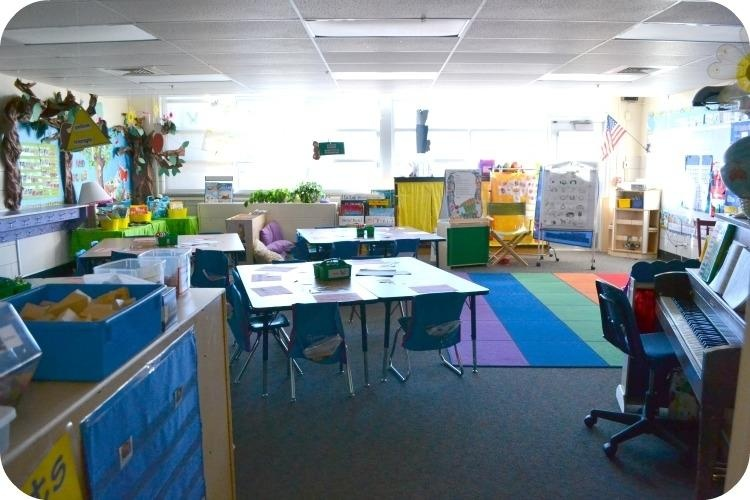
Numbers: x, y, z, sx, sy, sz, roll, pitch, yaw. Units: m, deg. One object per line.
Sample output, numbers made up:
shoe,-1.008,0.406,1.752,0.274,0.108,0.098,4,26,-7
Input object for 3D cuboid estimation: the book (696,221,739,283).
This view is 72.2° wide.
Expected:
book,2.634,0.016,4.021,0.100,0.407,0.400,19,-20,10

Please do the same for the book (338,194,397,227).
book,-0.167,-0.692,9.032,0.735,0.668,0.346,1,13,6

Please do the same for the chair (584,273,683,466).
chair,2.264,0.923,4.163,0.938,1.227,0.894,3,5,-3

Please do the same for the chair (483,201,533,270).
chair,2.564,-0.332,9.957,1.010,1.180,0.989,-9,12,-33

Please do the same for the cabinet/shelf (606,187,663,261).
cabinet/shelf,5.190,-0.618,10.272,0.899,1.440,0.421,4,14,24
